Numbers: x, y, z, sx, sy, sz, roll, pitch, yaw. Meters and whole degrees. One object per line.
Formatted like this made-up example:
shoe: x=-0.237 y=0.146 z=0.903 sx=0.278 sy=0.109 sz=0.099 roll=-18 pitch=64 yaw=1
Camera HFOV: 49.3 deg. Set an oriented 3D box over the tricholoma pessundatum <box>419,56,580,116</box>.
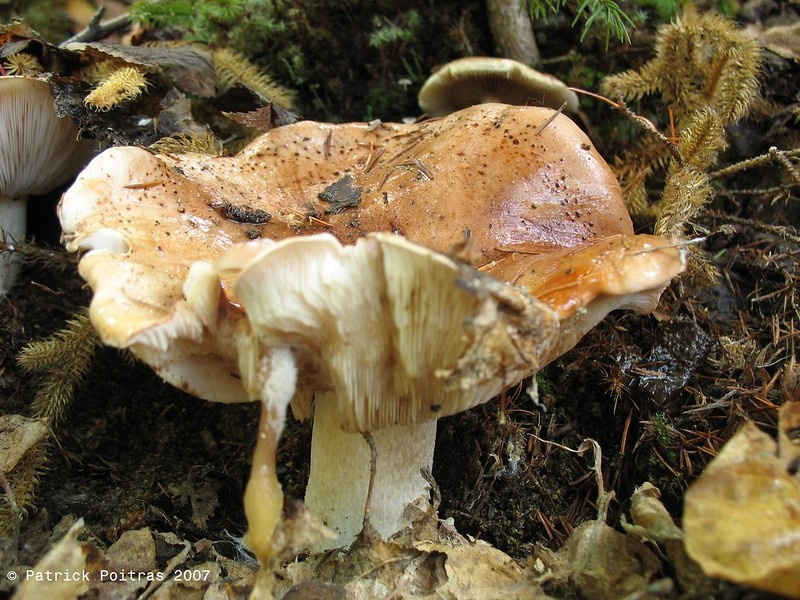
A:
tricholoma pessundatum: x=0.465 y=-1.384 z=5.803 sx=0.631 sy=0.645 sz=0.202 roll=-17 pitch=88 yaw=34
